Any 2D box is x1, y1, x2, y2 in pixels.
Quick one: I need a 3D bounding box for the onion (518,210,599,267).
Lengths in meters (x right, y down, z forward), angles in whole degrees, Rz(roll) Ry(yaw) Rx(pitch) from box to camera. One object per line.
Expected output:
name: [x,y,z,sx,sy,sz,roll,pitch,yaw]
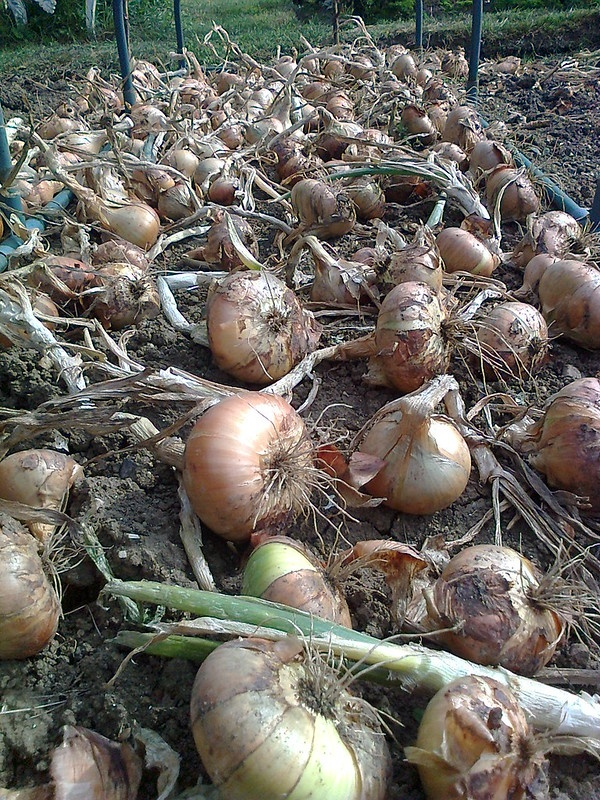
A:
onion: [1.141,-0.705,2.930,0.315,0.222,0.255,-25,19,-20]
